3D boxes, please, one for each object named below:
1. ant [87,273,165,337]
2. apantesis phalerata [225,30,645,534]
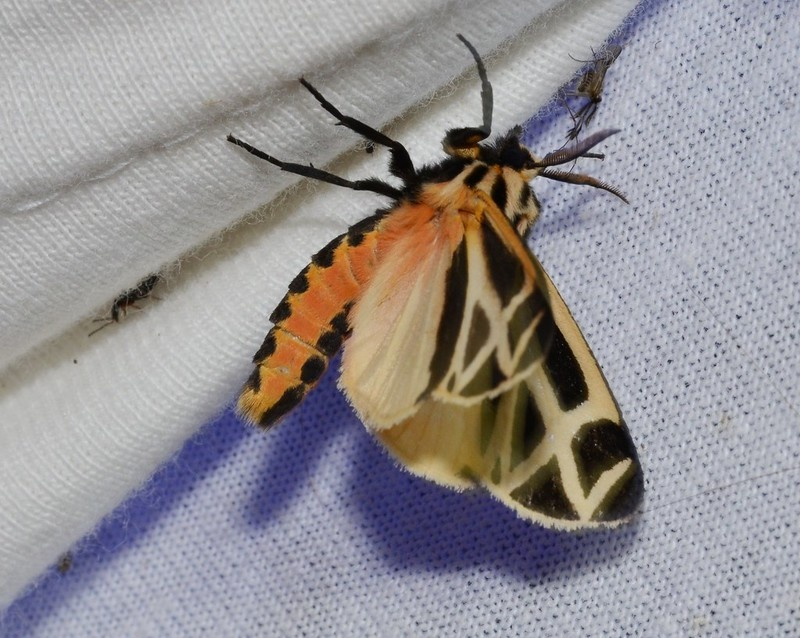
[{"bbox_3d":[-0.403,-0.024,1.599,0.111,0.030,0.078,-49,26,2],"label":"ant"},{"bbox_3d":[0.070,-0.076,1.514,0.609,0.470,0.428,10,42,9],"label":"apantesis phalerata"}]
